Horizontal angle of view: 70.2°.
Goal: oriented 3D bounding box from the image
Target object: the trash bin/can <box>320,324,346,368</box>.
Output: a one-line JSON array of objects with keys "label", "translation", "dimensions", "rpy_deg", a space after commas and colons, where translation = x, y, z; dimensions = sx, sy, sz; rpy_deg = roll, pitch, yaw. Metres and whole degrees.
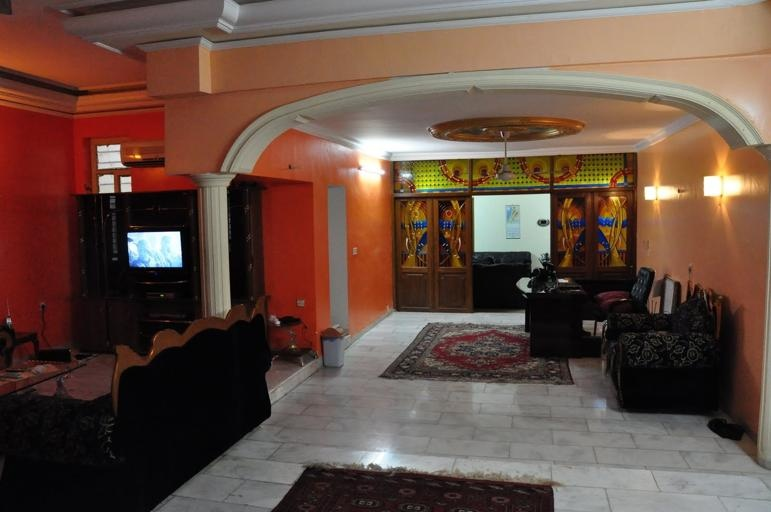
[{"label": "trash bin/can", "translation": [-0.666, 1.378, 8.591], "dimensions": [0.574, 0.681, 0.530], "rpy_deg": [-1, -1, 7]}]

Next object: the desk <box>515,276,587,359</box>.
[{"label": "desk", "translation": [2.658, 0.976, 8.804], "dimensions": [0.974, 0.836, 1.825], "rpy_deg": [0, 3, 11]}]

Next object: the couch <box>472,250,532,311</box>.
[{"label": "couch", "translation": [2.652, 0.580, 12.744], "dimensions": [1.334, 1.487, 1.697], "rpy_deg": [-1, 3, -2]}]

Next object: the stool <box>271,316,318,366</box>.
[{"label": "stool", "translation": [-1.384, 1.227, 8.148], "dimensions": [0.756, 0.797, 0.622], "rpy_deg": [0, 2, 13]}]

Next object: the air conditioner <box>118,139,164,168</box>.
[{"label": "air conditioner", "translation": [-3.477, -1.467, 7.888], "dimensions": [0.706, 0.347, 0.246], "rpy_deg": [3, 10, 24]}]

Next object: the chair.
[{"label": "chair", "translation": [3.407, 0.622, 7.242], "dimensions": [1.370, 1.731, 2.437], "rpy_deg": [0, 6, 17]}]
